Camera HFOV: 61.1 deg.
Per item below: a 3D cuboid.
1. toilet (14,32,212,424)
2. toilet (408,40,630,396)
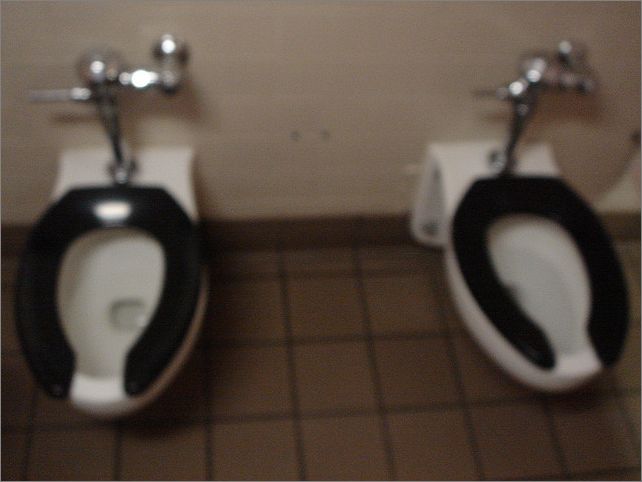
[{"bbox_3d":[-0.397,0.023,1.010,0.340,0.441,0.502,0,66,1],"label":"toilet"},{"bbox_3d":[0.404,0.008,1.008,0.356,0.479,0.463,-4,69,-10],"label":"toilet"}]
